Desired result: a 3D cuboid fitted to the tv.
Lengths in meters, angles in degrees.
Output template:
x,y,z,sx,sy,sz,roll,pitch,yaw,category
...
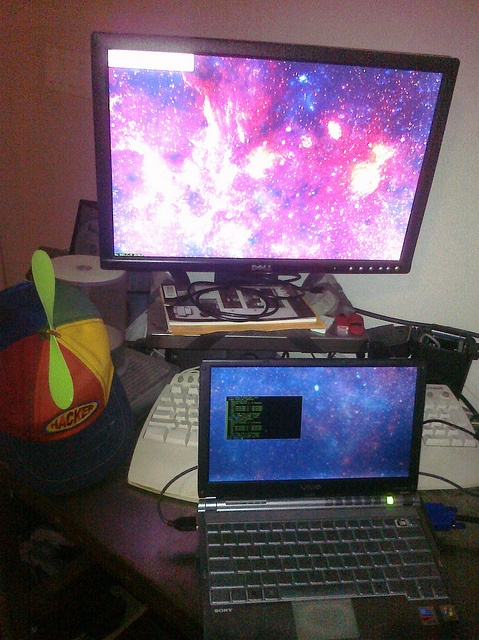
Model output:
x,y,z,sx,sy,sz,roll,pitch,yaw,category
0.056,-0.273,0.836,0.483,0.355,0.054,-2,32,-9,tv
